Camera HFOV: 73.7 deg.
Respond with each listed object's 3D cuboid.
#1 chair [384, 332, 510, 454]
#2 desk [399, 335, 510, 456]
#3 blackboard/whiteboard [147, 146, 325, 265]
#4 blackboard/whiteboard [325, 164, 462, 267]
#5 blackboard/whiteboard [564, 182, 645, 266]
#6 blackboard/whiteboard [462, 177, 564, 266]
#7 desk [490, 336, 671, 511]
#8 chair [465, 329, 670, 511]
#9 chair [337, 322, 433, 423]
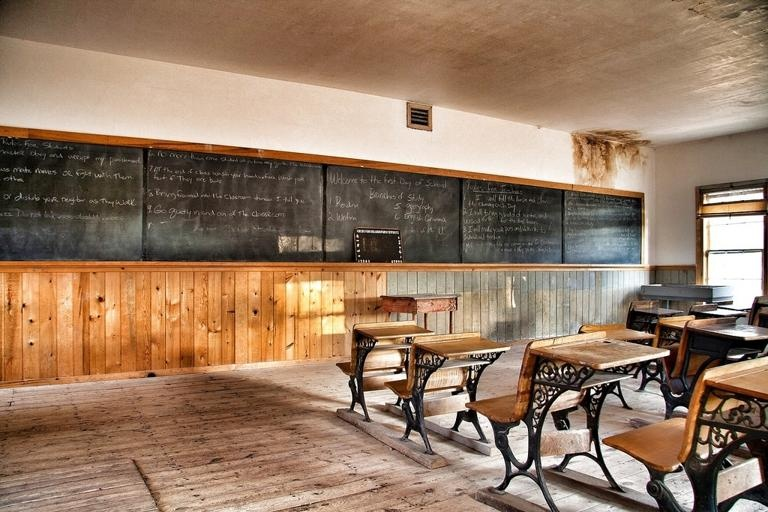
[{"bbox_3d":[0.465,0.983,4.073,0.821,0.811,1.062,0,-1,-26],"label":"chair"},{"bbox_3d":[0.462,1.033,4.010,0.741,0.734,0.901,2,-9,-29],"label":"desk"},{"bbox_3d":[-1.642,-0.586,6.114,0.029,1.255,2.414,16,15,41],"label":"blackboard/whiteboard"},{"bbox_3d":[0.150,-0.564,6.860,2.453,1.281,0.102,-2,7,-41],"label":"blackboard/whiteboard"},{"bbox_3d":[3.541,-0.512,8.658,0.039,1.155,1.882,-3,6,-27],"label":"blackboard/whiteboard"},{"bbox_3d":[1.850,-0.530,7.611,1.654,0.872,0.039,2,-7,-26],"label":"blackboard/whiteboard"},{"bbox_3d":[1.342,1.018,3.605,1.042,1.051,1.321,0,0,-31],"label":"desk"},{"bbox_3d":[1.412,1.020,3.615,1.090,1.147,1.421,0,-1,-30],"label":"chair"},{"bbox_3d":[-0.135,0.917,4.609,0.928,0.887,0.893,1,1,-26],"label":"chair"}]
